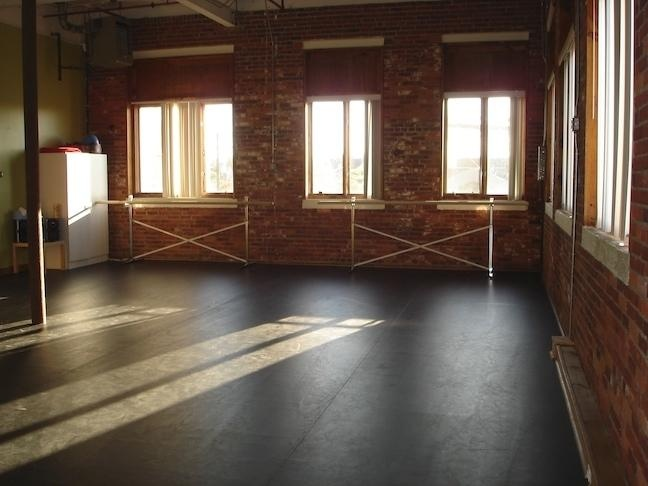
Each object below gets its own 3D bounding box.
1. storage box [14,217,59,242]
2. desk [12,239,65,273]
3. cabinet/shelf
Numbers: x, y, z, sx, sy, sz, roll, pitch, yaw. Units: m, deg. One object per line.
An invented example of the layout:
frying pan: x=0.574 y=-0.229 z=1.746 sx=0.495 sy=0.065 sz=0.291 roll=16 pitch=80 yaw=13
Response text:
storage box: x=-4.269 y=-0.185 z=7.241 sx=0.388 sy=0.311 sz=0.214 roll=0 pitch=0 yaw=-34
desk: x=-4.403 y=0.193 z=7.543 sx=0.284 sy=0.377 sz=0.557 roll=0 pitch=2 yaw=33
cabinet/shelf: x=-4.631 y=-0.620 z=9.205 sx=0.540 sy=2.074 sz=1.131 roll=2 pitch=8 yaw=18
